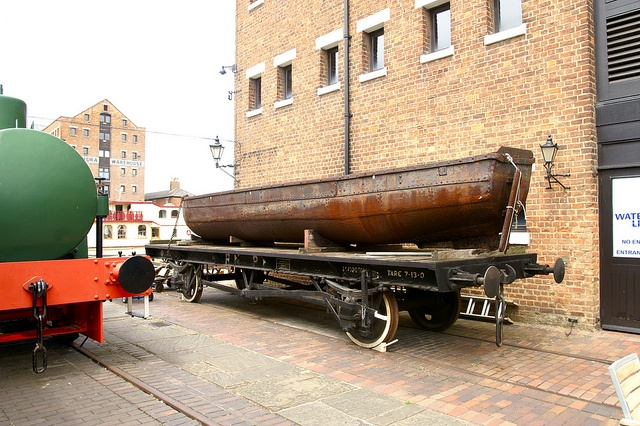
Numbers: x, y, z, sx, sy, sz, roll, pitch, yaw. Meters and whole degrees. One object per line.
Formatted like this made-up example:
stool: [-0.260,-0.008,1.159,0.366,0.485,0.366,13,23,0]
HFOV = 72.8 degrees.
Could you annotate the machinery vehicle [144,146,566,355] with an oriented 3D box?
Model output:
machinery vehicle: [-0.329,0.612,10.243,10.473,3.667,2.752,2,4,41]
